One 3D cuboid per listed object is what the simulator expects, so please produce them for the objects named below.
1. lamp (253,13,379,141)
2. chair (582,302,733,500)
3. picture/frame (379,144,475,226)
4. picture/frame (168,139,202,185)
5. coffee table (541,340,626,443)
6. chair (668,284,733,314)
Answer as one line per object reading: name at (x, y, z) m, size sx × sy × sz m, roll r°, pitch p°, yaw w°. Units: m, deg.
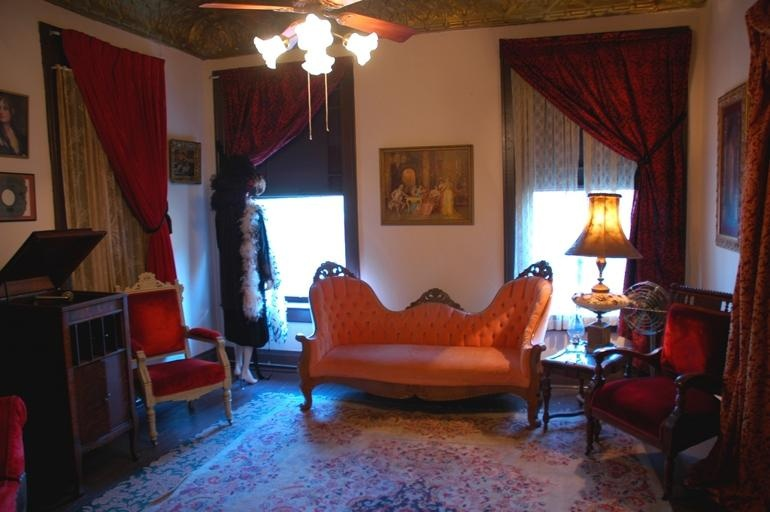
lamp at (-0.536, -1.492, 4.911) m, size 1.035 × 0.939 × 1.026 m, roll -14°, pitch 27°, yaw -25°
chair at (2.517, 1.204, 5.763) m, size 1.483 × 2.056 × 1.418 m, roll 1°, pitch 1°, yaw -23°
picture/frame at (0.562, -0.863, 6.815) m, size 0.980 × 0.802 × 0.066 m, roll 1°, pitch 12°, yaw 16°
picture/frame at (-2.513, -1.155, 7.046) m, size 0.068 × 0.627 × 0.650 m, roll -1°, pitch -1°, yaw 25°
coffee table at (2.070, 1.225, 5.918) m, size 0.818 × 1.008 × 1.061 m, roll 1°, pitch 2°, yaw 34°
chair at (2.935, 0.494, 5.246) m, size 0.539 × 0.346 × 0.203 m, roll 9°, pitch 17°, yaw 41°
